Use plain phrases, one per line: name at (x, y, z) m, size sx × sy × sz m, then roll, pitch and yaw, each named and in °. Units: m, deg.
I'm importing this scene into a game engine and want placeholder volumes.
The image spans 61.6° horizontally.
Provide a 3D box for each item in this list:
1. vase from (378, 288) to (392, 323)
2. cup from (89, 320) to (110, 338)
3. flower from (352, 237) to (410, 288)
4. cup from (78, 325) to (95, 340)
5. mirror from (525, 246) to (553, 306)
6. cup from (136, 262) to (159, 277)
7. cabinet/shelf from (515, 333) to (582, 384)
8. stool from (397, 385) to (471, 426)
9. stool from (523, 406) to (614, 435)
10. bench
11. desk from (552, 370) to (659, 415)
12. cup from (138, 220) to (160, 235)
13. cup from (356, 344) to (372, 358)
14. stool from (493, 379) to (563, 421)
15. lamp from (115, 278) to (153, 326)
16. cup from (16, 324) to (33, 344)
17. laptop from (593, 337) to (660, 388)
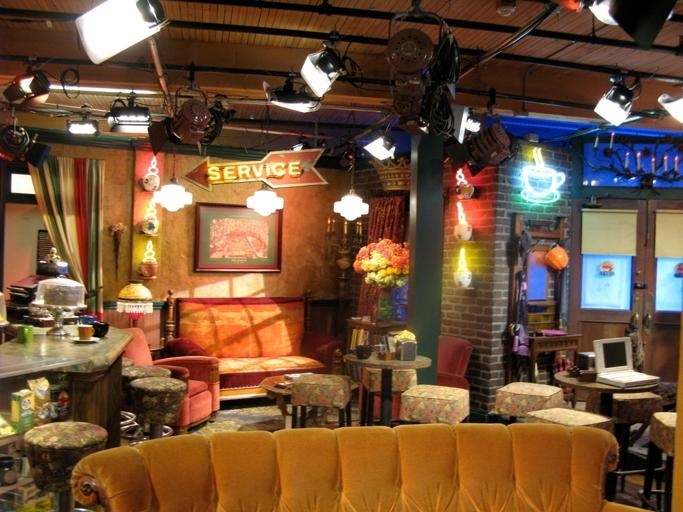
vase at (0.516, 0.561, 6.668) m, size 0.177 × 0.430 × 0.271 m, roll 5°, pitch 4°, yaw 5°
cup at (-1.864, 0.569, 4.395) m, size 0.133 × 0.083 × 0.150 m, roll 2°, pitch -8°, yaw -18°
flower at (0.452, 0.076, 6.484) m, size 0.715 × 0.427 × 0.596 m, roll 0°, pitch 1°, yaw 4°
cup at (-1.854, 0.557, 4.154) m, size 0.142 × 0.082 × 0.097 m, roll 2°, pitch -3°, yaw -10°
mirror at (2.493, 0.233, 7.162) m, size 0.458 × 0.676 × 0.121 m, roll 1°, pitch 6°, yaw -40°
cup at (-2.520, 0.177, 7.469) m, size 0.216 × 0.137 × 0.226 m, roll 0°, pitch -8°, yaw 0°
cabinet/shelf at (2.337, 1.173, 6.583) m, size 0.938 × 0.637 × 0.348 m, roll 0°, pitch 5°, yaw -24°
stool at (0.798, 1.319, 5.024) m, size 0.486 × 0.262 × 0.471 m, roll 5°, pitch 4°, yaw 28°
stool at (1.764, 1.247, 4.407) m, size 0.604 × 0.181 × 0.480 m, roll 1°, pitch 2°, yaw 1°
bench at (-1.225, 1.045, 7.753) m, size 2.939 × 1.420 × 1.350 m, roll 1°, pitch -6°, yaw -23°
desk at (2.171, 1.158, 4.914) m, size 0.581 × 0.286 × 0.508 m, roll 0°, pitch 0°, yaw -23°
cup at (-2.524, -0.374, 7.549) m, size 0.252 × 0.130 × 0.219 m, roll -1°, pitch -2°, yaw 19°
cup at (0.198, 0.855, 5.169) m, size 0.168 × 0.079 × 0.115 m, roll -1°, pitch -3°, yaw -9°
stool at (1.684, 1.250, 5.076) m, size 0.440 × 0.161 × 0.420 m, roll -4°, pitch -6°, yaw 36°
lamp at (-2.603, 0.629, 7.247) m, size 0.407 × 0.605 × 0.510 m, roll 3°, pitch 4°, yaw -15°
cup at (-2.205, 0.546, 3.995) m, size 0.150 × 0.116 × 0.130 m, roll 2°, pitch -3°, yaw -25°
laptop at (2.421, 0.952, 5.069) m, size 0.614 × 0.387 × 0.459 m, roll 1°, pitch -3°, yaw -29°
